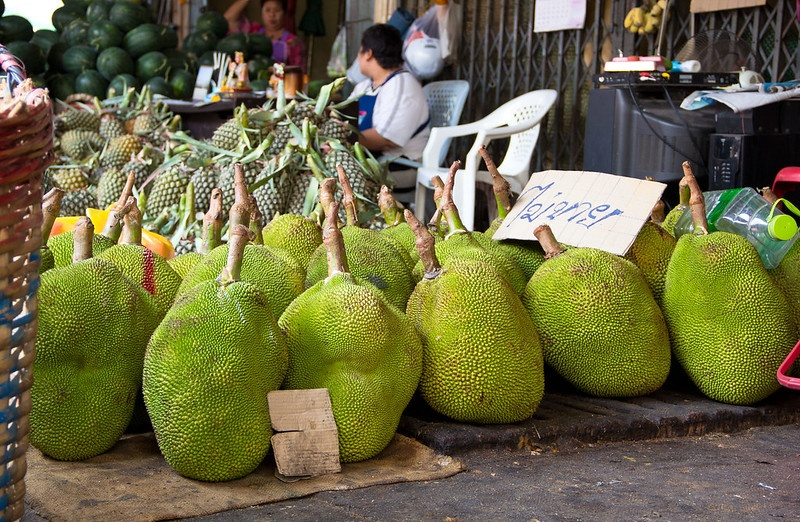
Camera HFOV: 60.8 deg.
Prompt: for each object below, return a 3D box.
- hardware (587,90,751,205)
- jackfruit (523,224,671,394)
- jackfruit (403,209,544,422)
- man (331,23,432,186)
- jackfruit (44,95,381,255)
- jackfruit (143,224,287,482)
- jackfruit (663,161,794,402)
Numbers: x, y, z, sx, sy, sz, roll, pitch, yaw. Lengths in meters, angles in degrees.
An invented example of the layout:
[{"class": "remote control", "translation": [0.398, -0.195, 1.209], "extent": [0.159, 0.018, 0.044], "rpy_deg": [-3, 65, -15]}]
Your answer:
[{"class": "hardware", "translation": [1.260, -0.593, 3.176], "extent": [0.554, 0.578, 0.548], "rpy_deg": [-10, 16, -40]}, {"class": "jackfruit", "translation": [0.508, 0.166, 1.750], "extent": [0.369, 0.361, 0.140], "rpy_deg": [0, 18, 1]}, {"class": "jackfruit", "translation": [0.178, 0.140, 1.635], "extent": [0.325, 0.473, 0.229], "rpy_deg": [-1, 18, 0]}, {"class": "man", "translation": [-0.162, -0.948, 4.766], "extent": [0.687, 1.303, 0.782], "rpy_deg": [-8, 16, -20]}, {"class": "jackfruit", "translation": [-0.674, -0.363, 3.100], "extent": [2.012, 0.756, 0.554], "rpy_deg": [-1, -1, 3]}, {"class": "jackfruit", "translation": [-0.407, 0.271, 1.716], "extent": [0.356, 0.675, 0.361], "rpy_deg": [6, -4, -14]}, {"class": "jackfruit", "translation": [0.871, 0.059, 1.763], "extent": [0.341, 0.577, 0.254], "rpy_deg": [7, 19, 22]}]
